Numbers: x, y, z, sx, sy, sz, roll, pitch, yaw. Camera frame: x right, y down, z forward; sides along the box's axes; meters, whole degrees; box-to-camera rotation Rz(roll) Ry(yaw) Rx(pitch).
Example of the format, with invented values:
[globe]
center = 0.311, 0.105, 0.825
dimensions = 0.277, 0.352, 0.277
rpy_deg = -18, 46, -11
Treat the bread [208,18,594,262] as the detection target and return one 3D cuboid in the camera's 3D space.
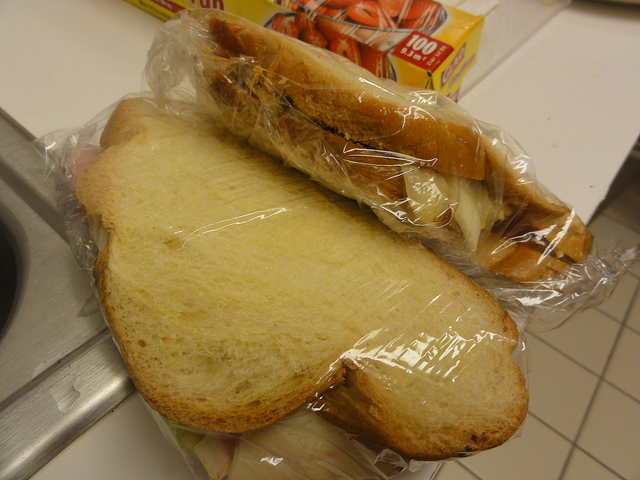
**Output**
[bread]
center = 0.111, -0.148, 0.950
dimensions = 0.555, 0.133, 0.122
rpy_deg = 36, 54, 3
